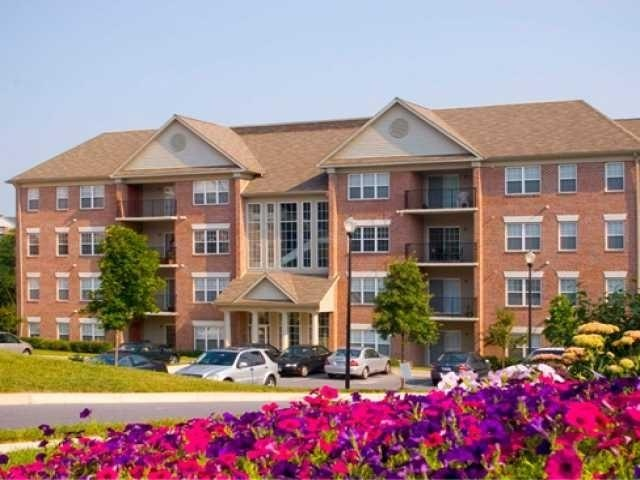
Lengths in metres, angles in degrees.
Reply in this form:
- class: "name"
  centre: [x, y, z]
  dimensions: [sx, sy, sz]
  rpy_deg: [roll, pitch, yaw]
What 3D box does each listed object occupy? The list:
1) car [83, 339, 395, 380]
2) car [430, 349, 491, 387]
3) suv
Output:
- class: "car"
  centre: [-4.005, 5.876, 71.015]
  dimensions: [3.374, 2.579, 8.129]
  rpy_deg: [-2, -5, 27]
- class: "car"
  centre: [6.645, 6.149, 73.299]
  dimensions: [2.192, 1.679, 3.372]
  rpy_deg: [-7, -11, 41]
- class: "suv"
  centre: [-4.155, 5.823, 68.707]
  dimensions: [2.531, 1.922, 5.340]
  rpy_deg: [7, 3, 32]
